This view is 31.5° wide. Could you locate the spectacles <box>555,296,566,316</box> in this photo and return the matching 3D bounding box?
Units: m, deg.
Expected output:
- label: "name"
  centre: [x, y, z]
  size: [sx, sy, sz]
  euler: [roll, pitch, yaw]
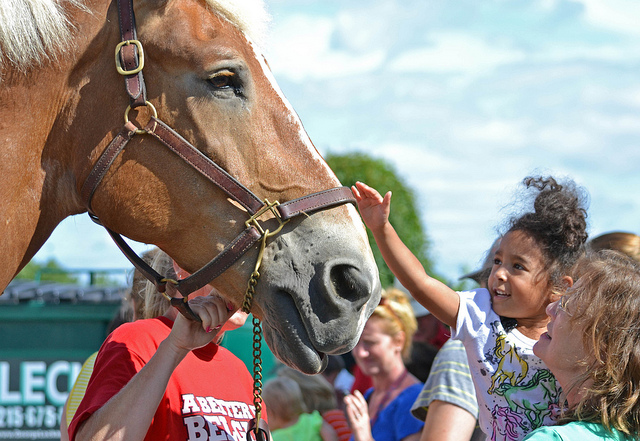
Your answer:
- label: "spectacles"
  centre: [1.117, 0.397, 5.282]
  size: [0.030, 0.095, 0.081]
  euler: [5, -14, -10]
